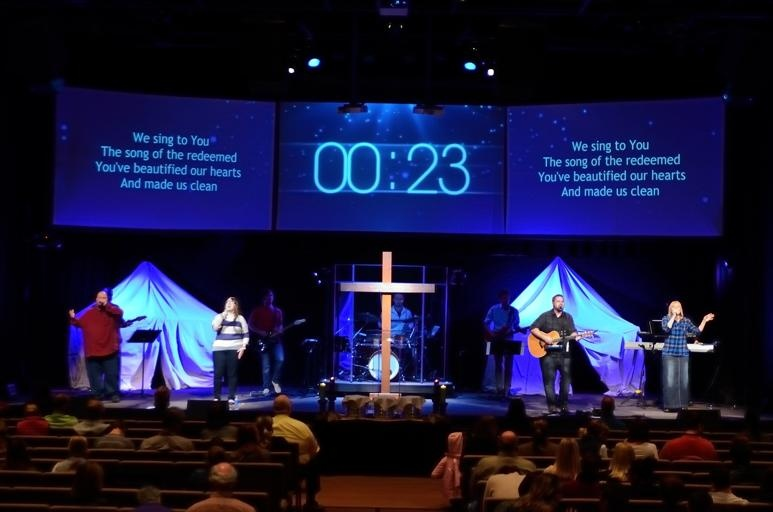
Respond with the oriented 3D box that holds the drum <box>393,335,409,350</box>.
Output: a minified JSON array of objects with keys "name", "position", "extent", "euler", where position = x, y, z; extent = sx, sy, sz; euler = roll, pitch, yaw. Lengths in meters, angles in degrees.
[{"name":"drum","position":[0.293,1.809,17.703],"extent":[0.445,0.321,0.144],"euler":[5,-10,-24]}]

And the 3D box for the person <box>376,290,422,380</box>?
[{"name":"person","position":[0.158,1.846,18.231],"extent":[0.915,2.099,1.141],"euler":[8,3,1]}]

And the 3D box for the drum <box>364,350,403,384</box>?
[{"name":"drum","position":[-0.103,2.241,17.415],"extent":[0.701,0.617,0.607],"euler":[0,-9,8]}]

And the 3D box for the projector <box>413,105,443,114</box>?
[{"name":"projector","position":[0.853,-3.048,17.661],"extent":[0.574,0.141,0.157],"euler":[2,-9,-4]}]

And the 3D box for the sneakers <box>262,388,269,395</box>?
[{"name":"sneakers","position":[-2.522,2.814,17.632],"extent":[0.149,0.071,0.201],"euler":[2,-8,-18]}]

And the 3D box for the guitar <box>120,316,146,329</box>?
[{"name":"guitar","position":[-5.391,1.398,17.919],"extent":[0.646,0.203,0.145],"euler":[-16,8,-19]}]

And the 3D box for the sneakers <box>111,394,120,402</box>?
[{"name":"sneakers","position":[-5.305,2.780,16.568],"extent":[0.139,0.099,0.139],"euler":[-5,-5,20]}]

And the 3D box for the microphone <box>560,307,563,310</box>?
[{"name":"microphone","position":[3.505,1.044,16.958],"extent":[0.050,0.085,0.048],"euler":[2,14,5]}]

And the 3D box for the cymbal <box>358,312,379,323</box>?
[{"name":"cymbal","position":[-0.341,1.300,18.157],"extent":[0.381,0.205,0.867],"euler":[1,-9,0]}]

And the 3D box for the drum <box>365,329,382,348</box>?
[{"name":"drum","position":[-0.303,1.743,17.743],"extent":[0.328,0.434,0.461],"euler":[2,-9,-4]}]

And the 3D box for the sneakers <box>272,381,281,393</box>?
[{"name":"sneakers","position":[-2.306,2.750,17.753],"extent":[0.149,0.271,0.110],"euler":[-22,8,-36]}]
